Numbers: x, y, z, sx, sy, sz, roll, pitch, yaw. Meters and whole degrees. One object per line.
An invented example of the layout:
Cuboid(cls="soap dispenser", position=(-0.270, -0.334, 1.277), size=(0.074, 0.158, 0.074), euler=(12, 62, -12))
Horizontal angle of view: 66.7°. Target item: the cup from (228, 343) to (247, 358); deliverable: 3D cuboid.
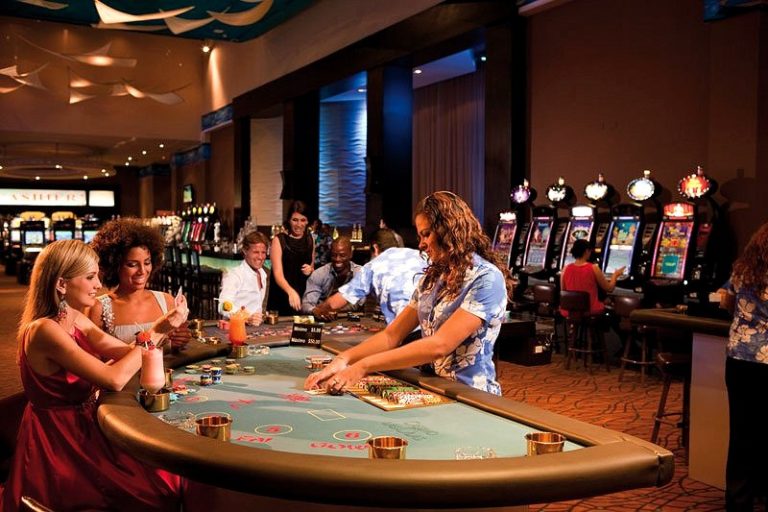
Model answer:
Cuboid(cls="cup", position=(-0.850, 0.550, 3.382), size=(0.086, 0.056, 0.085), euler=(1, 5, 0))

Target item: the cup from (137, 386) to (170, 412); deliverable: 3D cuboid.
Cuboid(cls="cup", position=(-1.040, 0.649, 2.614), size=(0.124, 0.065, 0.110), euler=(1, 3, 4))

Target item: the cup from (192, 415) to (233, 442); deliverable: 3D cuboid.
Cuboid(cls="cup", position=(-0.674, 0.673, 2.311), size=(0.096, 0.075, 0.118), euler=(0, 2, -41))

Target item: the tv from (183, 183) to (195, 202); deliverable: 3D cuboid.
Cuboid(cls="tv", position=(-6.122, -1.986, 18.273), size=(0.243, 0.640, 0.649), euler=(3, 6, -36))

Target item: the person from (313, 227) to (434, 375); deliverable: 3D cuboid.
Cuboid(cls="person", position=(-0.073, 0.318, 4.269), size=(1.089, 1.096, 0.741), euler=(0, 12, -26))

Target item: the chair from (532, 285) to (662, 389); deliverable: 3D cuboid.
Cuboid(cls="chair", position=(2.356, 0.889, 6.338), size=(0.393, 0.522, 1.060), euler=(-3, 4, -24))

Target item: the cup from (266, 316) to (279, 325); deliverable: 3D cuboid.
Cuboid(cls="cup", position=(-0.837, 0.473, 4.345), size=(0.084, 0.064, 0.081), euler=(2, 3, 0))

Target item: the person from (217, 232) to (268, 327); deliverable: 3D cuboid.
Cuboid(cls="person", position=(-1.146, 0.159, 4.745), size=(0.384, 0.704, 1.458), euler=(1, 3, -12))

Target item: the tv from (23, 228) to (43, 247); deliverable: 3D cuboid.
Cuboid(cls="tv", position=(-10.144, -0.515, 16.781), size=(0.563, 0.454, 0.260), euler=(5, -13, -24))
